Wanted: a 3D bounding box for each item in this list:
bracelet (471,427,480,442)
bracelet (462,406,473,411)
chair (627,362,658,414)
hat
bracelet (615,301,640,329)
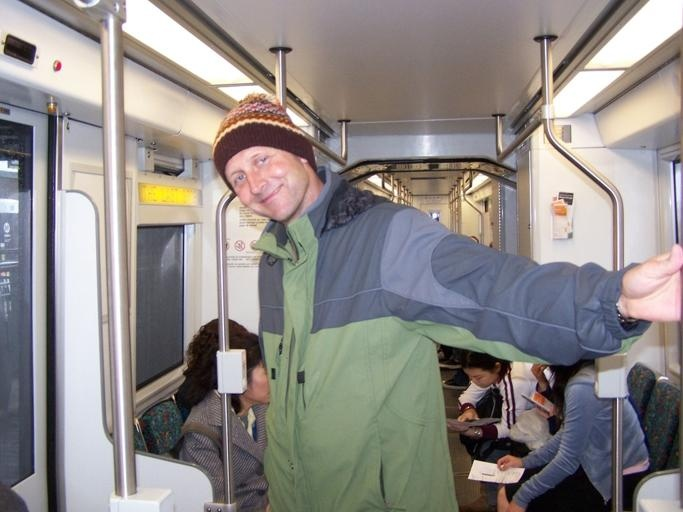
[{"bbox_3d":[0.958,1.253,3.832,0.057,0.088,0.078,-8,-20,13],"label":"bracelet"},{"bbox_3d":[0.994,1.209,4.311,0.048,0.019,0.039,-27,7,16],"label":"bracelet"},{"bbox_3d":[1.963,0.892,3.574,0.185,0.174,0.193,2,6,-18],"label":"chair"},{"bbox_3d":[-0.297,-0.484,2.160,0.323,0.289,0.268,-6,-22,30],"label":"hat"},{"bbox_3d":[0.756,0.158,1.429,0.052,0.072,0.044,-1,-1,34],"label":"bracelet"}]
